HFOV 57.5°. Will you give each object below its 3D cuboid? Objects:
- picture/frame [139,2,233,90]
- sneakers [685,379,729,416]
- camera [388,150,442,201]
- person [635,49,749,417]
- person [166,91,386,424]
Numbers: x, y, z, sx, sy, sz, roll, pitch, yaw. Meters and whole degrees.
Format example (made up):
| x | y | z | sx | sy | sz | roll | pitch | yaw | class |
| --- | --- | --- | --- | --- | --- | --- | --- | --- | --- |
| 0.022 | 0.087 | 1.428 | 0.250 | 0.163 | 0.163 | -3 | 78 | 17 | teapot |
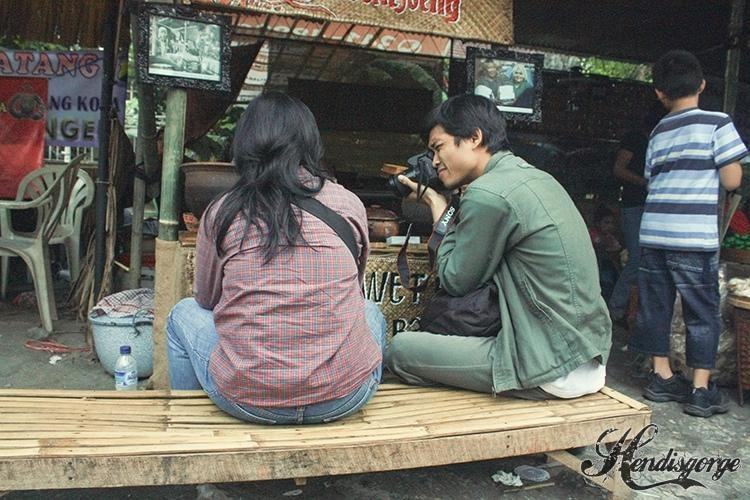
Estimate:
| x | y | z | sx | sy | sz | roll | pitch | yaw | class |
| --- | --- | --- | --- | --- | --- | --- | --- | --- | --- |
| -1.445 | -1.530 | 5.143 | 0.706 | 0.576 | 0.048 | 2 | -3 | -17 | picture/frame |
| 2.678 | 1.200 | 5.508 | 0.358 | 0.237 | 0.153 | 1 | 11 | -27 | sneakers |
| 0.311 | -0.555 | 5.176 | 0.383 | 0.365 | 0.141 | -30 | -23 | 22 | camera |
| 2.568 | -0.171 | 5.626 | 0.473 | 2.872 | 1.024 | -1 | 12 | -34 | person |
| -0.565 | 0.057 | 4.153 | 1.338 | 1.987 | 0.538 | 6 | 10 | -1 | person |
